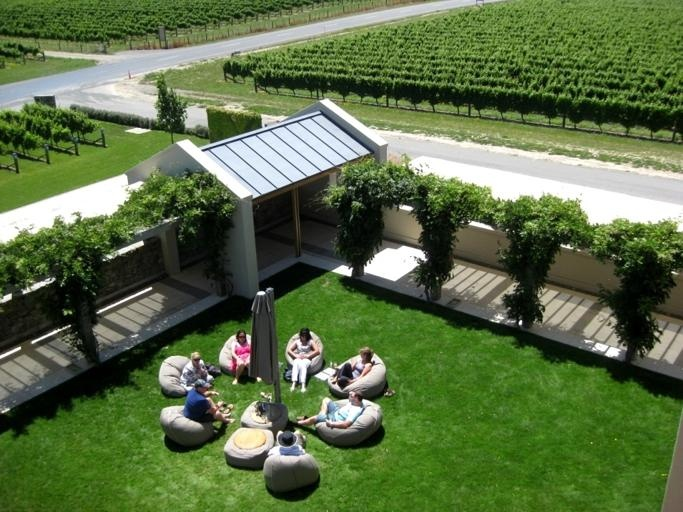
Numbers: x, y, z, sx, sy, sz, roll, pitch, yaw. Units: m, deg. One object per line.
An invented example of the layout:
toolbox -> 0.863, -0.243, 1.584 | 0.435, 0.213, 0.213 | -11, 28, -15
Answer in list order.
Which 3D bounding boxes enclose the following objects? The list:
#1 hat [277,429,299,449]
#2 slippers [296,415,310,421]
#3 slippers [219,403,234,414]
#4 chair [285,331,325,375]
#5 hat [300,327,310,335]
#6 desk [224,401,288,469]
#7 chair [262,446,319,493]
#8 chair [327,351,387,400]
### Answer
hat -> -1.408, 4.819, 16.420 | 0.517, 0.640, 0.402 | 0, 35, -7
slippers -> -1.091, 4.596, 17.801 | 0.292, 0.129, 0.107 | -10, 22, -35
slippers -> -3.353, 4.445, 18.322 | 0.228, 0.121, 0.390 | -1, 28, -1
chair -> -1.046, 3.173, 19.996 | 1.080, 0.777, 1.265 | 4, 47, 2
hat -> -1.135, 2.342, 19.618 | 0.163, 0.197, 0.237 | 0, 4, -2
desk -> -2.335, 4.842, 17.113 | 1.102, 0.670, 1.967 | 7, 31, 10
chair -> -1.311, 5.542, 16.117 | 1.145, 0.794, 1.210 | -1, 24, -3
chair -> 0.559, 3.645, 18.720 | 1.327, 0.906, 1.402 | -15, 33, -21
